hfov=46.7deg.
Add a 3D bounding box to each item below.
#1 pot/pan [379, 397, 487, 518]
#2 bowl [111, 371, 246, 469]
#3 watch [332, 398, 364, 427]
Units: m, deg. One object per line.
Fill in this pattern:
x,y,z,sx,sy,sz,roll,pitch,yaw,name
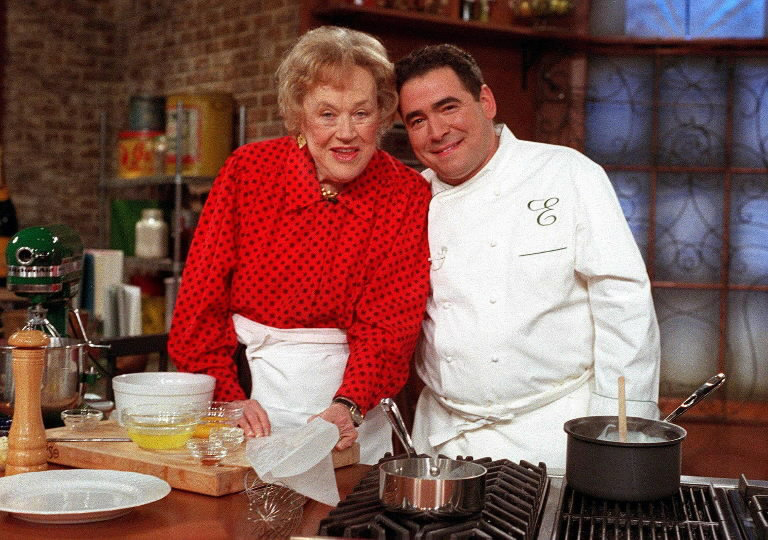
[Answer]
0.064,0.428,1.931,0.163,0.150,0.295,0,-2,-27,pot/pan
-0.490,0.347,2.196,0.188,0.118,0.305,-5,-11,45,bowl
-0.102,0.382,2.384,0.064,0.058,0.042,7,32,45,watch
